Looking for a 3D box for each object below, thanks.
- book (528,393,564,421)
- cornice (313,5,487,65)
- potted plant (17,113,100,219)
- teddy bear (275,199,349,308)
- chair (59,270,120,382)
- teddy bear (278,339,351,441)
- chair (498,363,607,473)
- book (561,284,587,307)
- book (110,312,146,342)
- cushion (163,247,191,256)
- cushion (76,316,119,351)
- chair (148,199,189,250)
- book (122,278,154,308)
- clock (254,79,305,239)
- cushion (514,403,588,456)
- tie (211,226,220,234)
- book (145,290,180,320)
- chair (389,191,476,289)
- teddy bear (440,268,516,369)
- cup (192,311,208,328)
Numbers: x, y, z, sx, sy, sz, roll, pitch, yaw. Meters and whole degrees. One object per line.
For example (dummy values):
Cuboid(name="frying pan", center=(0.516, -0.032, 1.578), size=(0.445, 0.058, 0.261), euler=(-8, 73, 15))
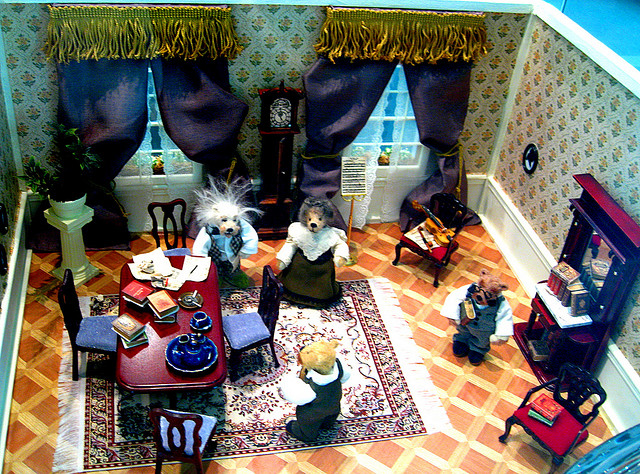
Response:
Cuboid(name="book", center=(2.127, 1.576, 4.503), size=(0.215, 0.042, 0.210), euler=(-29, 43, -30))
Cuboid(name="cornice", center=(0.988, -2.408, 5.773), size=(2.063, 0.611, 0.266), euler=(-1, 35, -7))
Cuboid(name="potted plant", center=(-3.011, -0.830, 5.648), size=(0.844, 1.196, 0.917), euler=(-9, 35, -19))
Cuboid(name="teddy bear", center=(-0.061, 0.203, 5.702), size=(0.832, 1.299, 0.602), euler=(9, 35, 7))
Cuboid(name="chair", center=(-2.384, 0.968, 4.970), size=(0.853, 1.173, 0.609), euler=(0, 55, -15))
Cuboid(name="teddy bear", center=(-0.038, 1.432, 4.397), size=(0.621, 1.147, 0.308), euler=(0, 36, -7))
Cuboid(name="chair", center=(2.202, 1.685, 4.513), size=(0.593, 1.001, 0.642), euler=(29, 41, 32))
Cuboid(name="book", center=(2.651, 0.608, 5.011), size=(0.282, 0.247, 0.147), euler=(-3, 38, -10))
Cuboid(name="book", center=(-1.734, 0.818, 4.354), size=(0.261, 0.057, 0.247), euler=(28, 39, 25))
Cuboid(name="cushion", center=(-1.604, 0.173, 5.455), size=(0.162, 0.038, 0.183), euler=(2, 22, -1))
Cuboid(name="cushion", center=(-2.148, 0.932, 4.660), size=(0.455, 0.077, 0.353), euler=(0, 36, -11))
Cuboid(name="chair", center=(-1.927, -0.163, 6.116), size=(0.671, 0.528, 0.940), euler=(-9, -5, -16))
Cuboid(name="book", center=(-1.751, 0.546, 4.667), size=(0.290, 0.069, 0.246), euler=(19, 43, 17))
Cuboid(name="clock", center=(-0.552, -0.975, 6.399), size=(0.711, 2.064, 0.434), euler=(-3, 31, -11))
Cuboid(name="cushion", center=(2.171, 1.757, 4.491), size=(0.419, 0.204, 0.512), euler=(-15, 33, -30))
Cuboid(name="tie", center=(-1.199, -0.080, 5.519), size=(0.125, 0.080, 0.025), euler=(2, 7, -12))
Cuboid(name="book", center=(-1.492, 0.644, 4.559), size=(0.270, 0.062, 0.248), euler=(-24, 52, -32))
Cuboid(name="chair", center=(1.510, 0.067, 6.492), size=(0.811, 1.155, 0.874), euler=(45, 44, 10))
Cuboid(name="teddy bear", center=(1.721, 0.907, 5.247), size=(0.735, 1.149, 0.345), euler=(20, 38, 22))
Cuboid(name="cup", center=(-1.094, 0.772, 4.461), size=(0.134, 0.099, 0.131), euler=(4, 46, -4))
